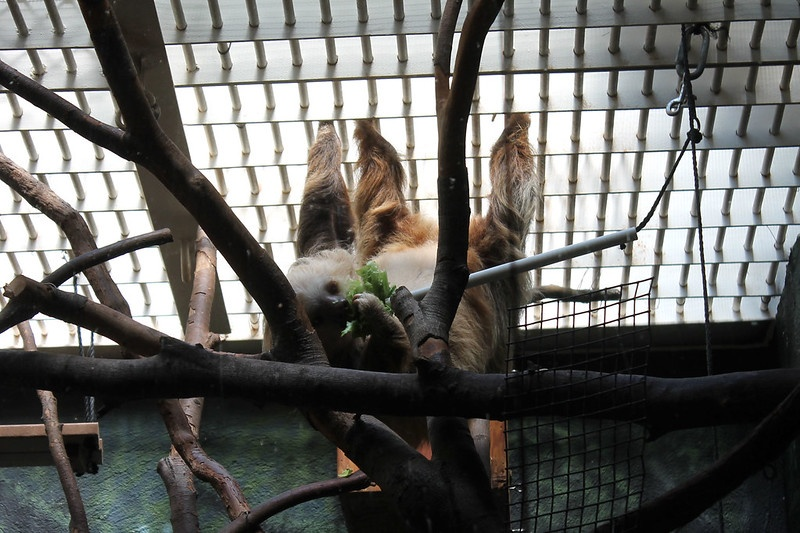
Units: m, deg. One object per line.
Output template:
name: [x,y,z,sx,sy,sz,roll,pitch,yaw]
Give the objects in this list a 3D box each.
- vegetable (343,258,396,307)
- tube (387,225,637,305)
vegetable: [-0.140,0.100,3.588,0.203,0.213,0.081,19,1,40]
tube: [0.616,-0.024,4.424,1.114,0.104,0.165,-19,-10,6]
